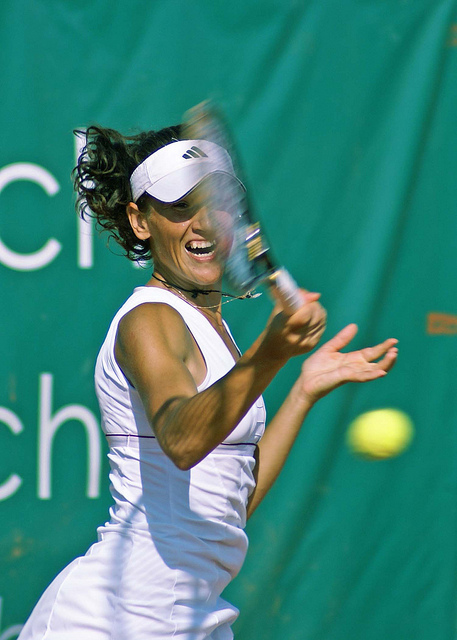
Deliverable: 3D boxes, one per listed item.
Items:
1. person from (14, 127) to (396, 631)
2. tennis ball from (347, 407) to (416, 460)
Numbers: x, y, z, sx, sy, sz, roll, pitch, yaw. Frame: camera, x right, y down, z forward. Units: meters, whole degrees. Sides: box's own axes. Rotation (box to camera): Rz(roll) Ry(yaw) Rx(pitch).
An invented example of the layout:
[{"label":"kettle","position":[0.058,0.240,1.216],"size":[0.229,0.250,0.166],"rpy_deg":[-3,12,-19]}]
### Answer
[{"label":"person","position":[-0.058,0.169,2.169],"size":[0.781,1.253,1.009],"rpy_deg":[4,15,-12]},{"label":"tennis ball","position":[0.571,0.432,3.248],"size":[0.254,0.152,0.282],"rpy_deg":[10,14,13]}]
